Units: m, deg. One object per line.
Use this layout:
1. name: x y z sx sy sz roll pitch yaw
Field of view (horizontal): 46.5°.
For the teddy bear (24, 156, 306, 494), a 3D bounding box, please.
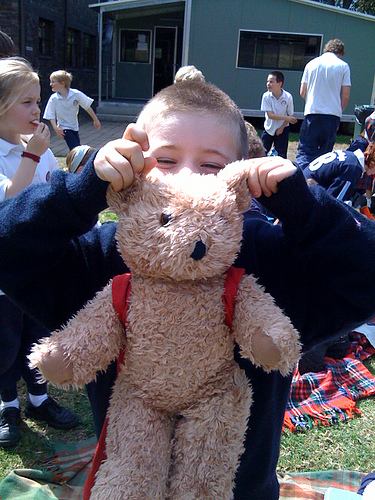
1. teddy bear: -0.070 0.184 0.882 0.460 0.730 0.366 -1 18 -24
